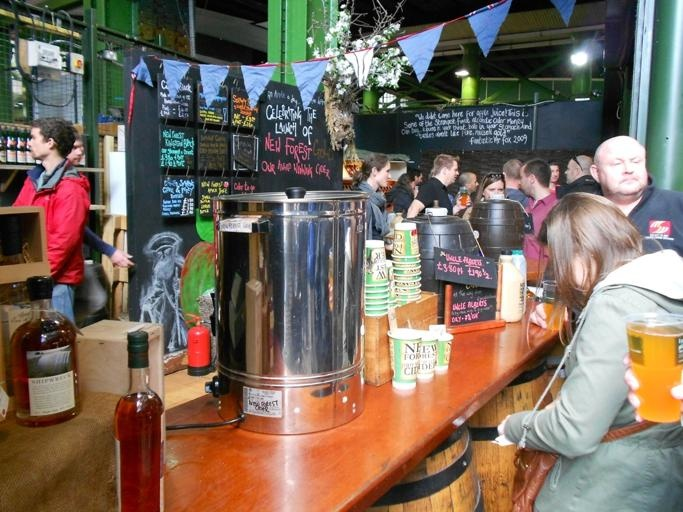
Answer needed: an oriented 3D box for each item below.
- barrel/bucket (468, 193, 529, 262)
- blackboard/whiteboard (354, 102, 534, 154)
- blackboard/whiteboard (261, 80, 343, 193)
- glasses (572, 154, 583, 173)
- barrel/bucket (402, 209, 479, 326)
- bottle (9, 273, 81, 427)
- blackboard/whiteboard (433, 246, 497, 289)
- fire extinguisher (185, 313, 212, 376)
[{"bbox_3d":[0.844,-0.162,2.996,0.302,0.321,0.319,-1,5,0],"label":"barrel/bucket"},{"bbox_3d":[1.718,-2.145,9.474,3.156,0.802,0.251,3,8,32],"label":"blackboard/whiteboard"},{"bbox_3d":[-0.453,-1.139,5.377,0.068,0.991,1.103,3,8,34],"label":"blackboard/whiteboard"},{"bbox_3d":[2.676,-1.046,6.241,0.035,0.157,0.118,-11,-5,16],"label":"glasses"},{"bbox_3d":[0.313,0.019,2.370,0.348,0.542,0.401,-1,1,-9],"label":"barrel/bucket"},{"bbox_3d":[-0.666,0.236,1.230,0.123,0.271,0.095,-5,8,-32],"label":"bottle"},{"bbox_3d":[0.529,0.055,2.320,0.348,0.195,0.073,-6,8,-34],"label":"blackboard/whiteboard"},{"bbox_3d":[-0.480,0.312,1.856,0.077,0.174,0.161,-3,7,-13],"label":"fire extinguisher"}]
